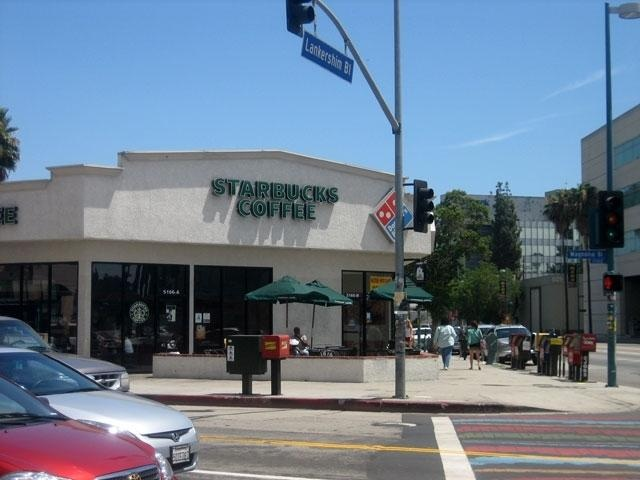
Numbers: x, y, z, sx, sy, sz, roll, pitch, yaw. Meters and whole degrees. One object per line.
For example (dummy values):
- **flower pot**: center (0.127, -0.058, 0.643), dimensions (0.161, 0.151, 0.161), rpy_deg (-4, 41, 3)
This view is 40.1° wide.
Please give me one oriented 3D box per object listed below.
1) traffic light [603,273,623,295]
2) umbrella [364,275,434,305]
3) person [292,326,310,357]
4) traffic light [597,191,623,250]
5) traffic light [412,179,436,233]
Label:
- **traffic light**: center (9.205, 1.387, 27.442), dimensions (0.525, 0.851, 0.626), rpy_deg (0, -4, -1)
- **umbrella**: center (2.876, 1.885, 33.252), dimensions (2.413, 1.222, 2.673), rpy_deg (1, -10, 1)
- **person**: center (-0.656, 3.375, 28.933), dimensions (0.604, 0.949, 1.199), rpy_deg (0, -10, -2)
- **traffic light**: center (8.777, -0.677, 26.474), dimensions (0.704, 1.789, 0.856), rpy_deg (-1, -9, 7)
- **traffic light**: center (2.832, -0.945, 24.039), dimensions (0.569, 1.392, 0.619), rpy_deg (-1, -9, 6)
